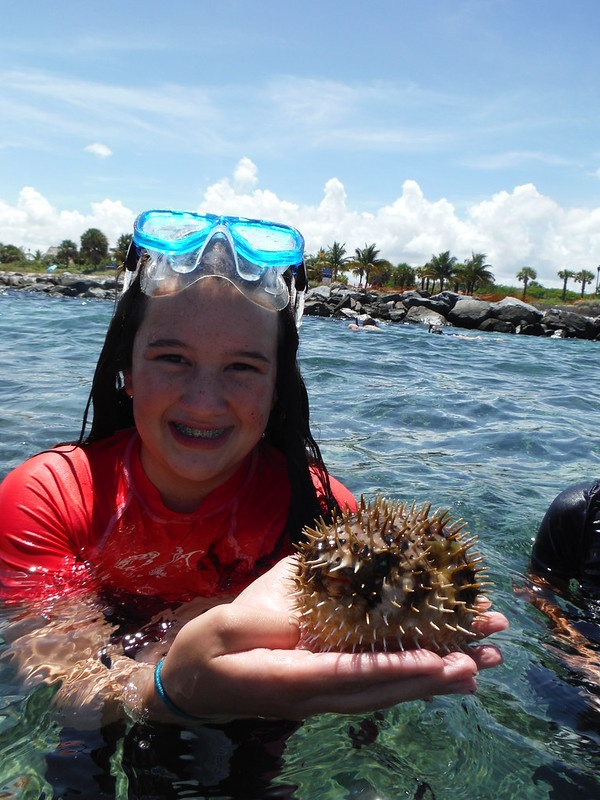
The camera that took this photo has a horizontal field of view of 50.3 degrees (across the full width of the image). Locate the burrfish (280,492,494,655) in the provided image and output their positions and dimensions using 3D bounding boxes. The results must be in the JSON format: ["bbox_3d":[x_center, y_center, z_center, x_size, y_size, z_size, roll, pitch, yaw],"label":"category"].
[{"bbox_3d":[0.276,0.439,1.834,0.457,0.325,0.502,-11,-11,43],"label":"burrfish"}]
